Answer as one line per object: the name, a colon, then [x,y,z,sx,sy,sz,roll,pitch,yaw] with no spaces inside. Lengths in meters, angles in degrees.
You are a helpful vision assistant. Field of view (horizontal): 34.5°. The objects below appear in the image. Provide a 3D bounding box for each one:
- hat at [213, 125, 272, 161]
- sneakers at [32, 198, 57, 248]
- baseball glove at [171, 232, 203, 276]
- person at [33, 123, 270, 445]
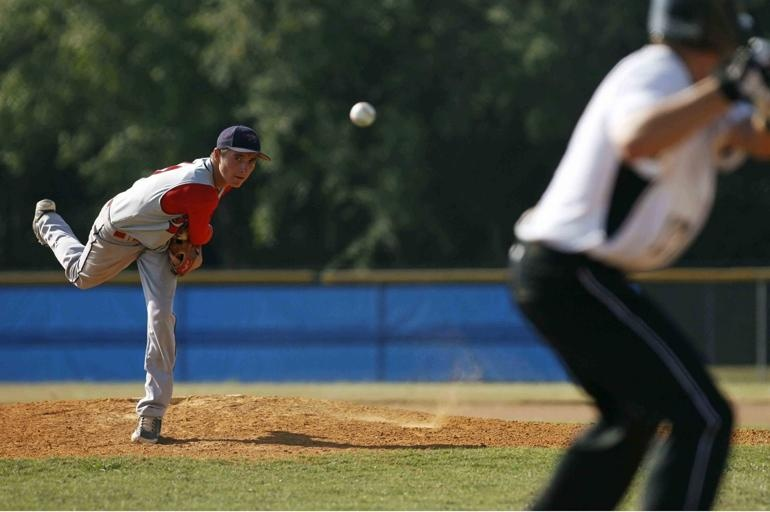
hat: [-1.008,-0.797,8.798,0.329,0.179,0.235,10,5,27]
sneakers: [-2.647,-0.294,9.675,0.184,0.469,0.217,1,-3,-9]
baseball glove: [-1.413,-0.011,8.857,0.228,0.298,0.313,4,11,7]
person: [-1.580,0.197,8.861,1.356,2.225,0.538,2,12,7]
